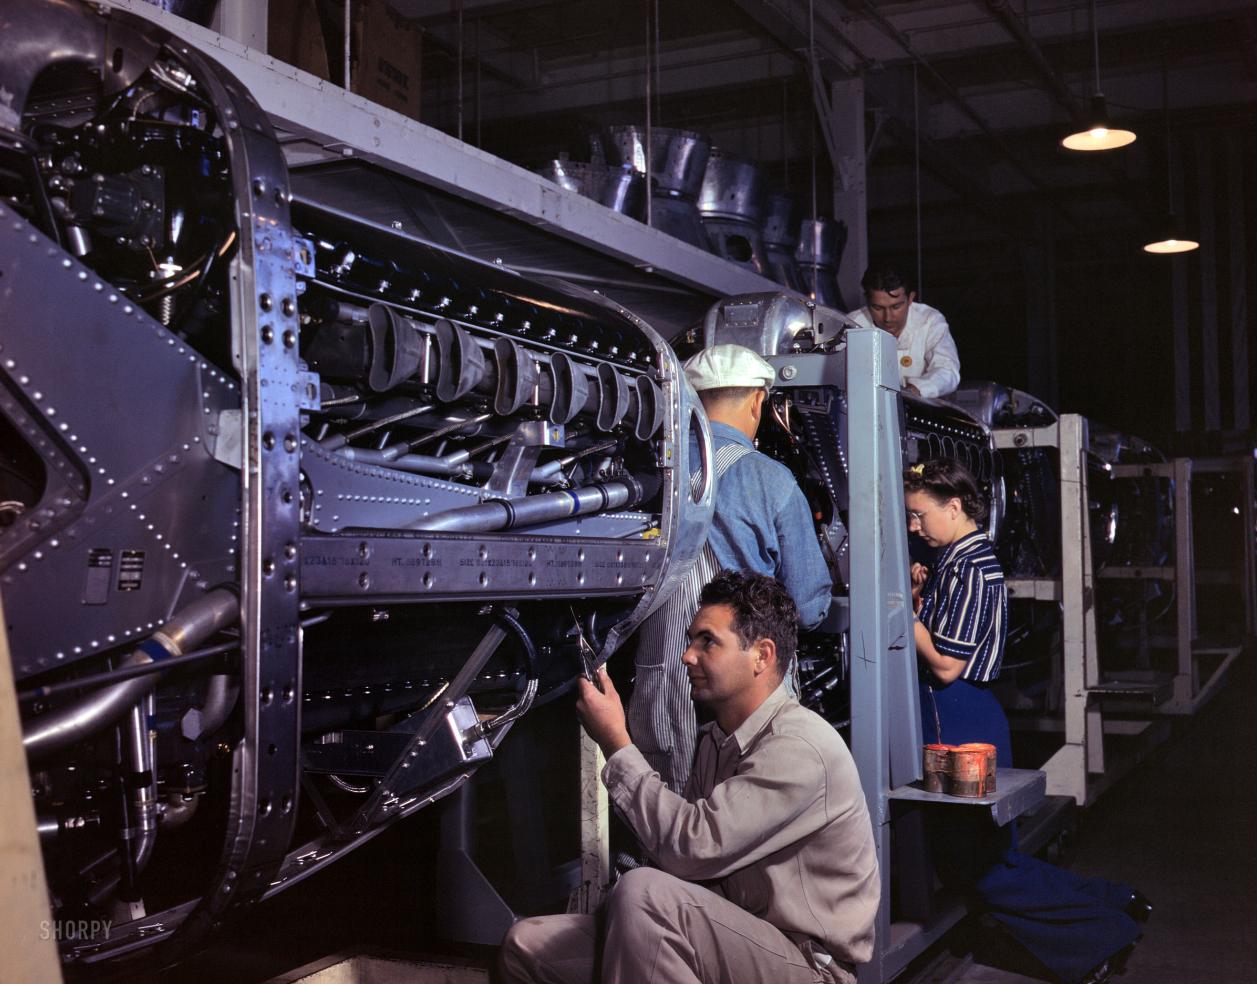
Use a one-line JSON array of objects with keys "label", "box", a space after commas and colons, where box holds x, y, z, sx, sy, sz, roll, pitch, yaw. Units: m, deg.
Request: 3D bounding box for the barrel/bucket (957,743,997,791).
[{"label": "barrel/bucket", "box": [1.258, 1.000, 4.084, 0.140, 0.162, 0.127, -2, 0, 8]}]

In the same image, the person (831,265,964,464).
[{"label": "person", "box": [1.673, -0.920, 6.641, 0.583, 1.014, 1.415, 3, 1, 16]}]

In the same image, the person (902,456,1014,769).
[{"label": "person", "box": [1.344, 0.498, 4.659, 0.502, 1.280, 0.844, 3, 1, 24]}]

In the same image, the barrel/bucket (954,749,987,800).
[{"label": "barrel/bucket", "box": [1.233, 1.002, 4.014, 0.140, 0.125, 0.117, -4, -4, 42]}]

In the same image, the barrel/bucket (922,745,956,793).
[{"label": "barrel/bucket", "box": [1.141, 1.011, 4.145, 0.085, 0.181, 0.227, 3, 1, 3]}]
